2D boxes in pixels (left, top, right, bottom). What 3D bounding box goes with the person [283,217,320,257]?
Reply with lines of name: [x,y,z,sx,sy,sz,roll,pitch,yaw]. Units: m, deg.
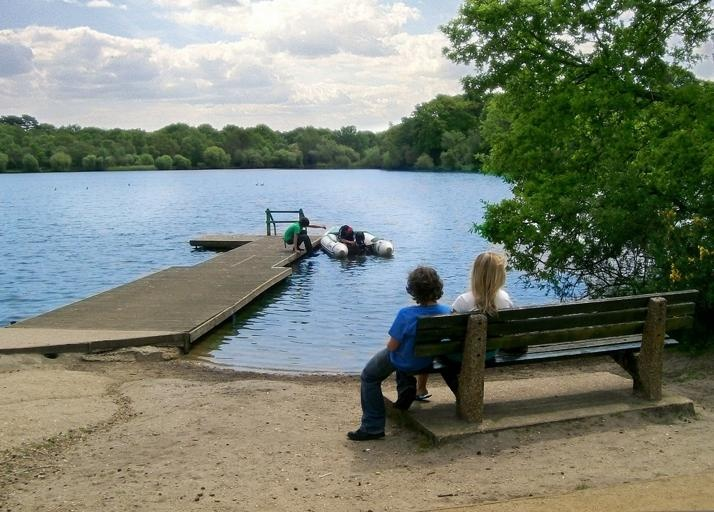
person: [-1.693,-0.742,24.365,1.519,1.032,0.835,-3,16,-2]

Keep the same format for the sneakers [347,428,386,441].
sneakers: [0.112,2.144,8.966,0.473,0.165,0.155,5,-16,5]

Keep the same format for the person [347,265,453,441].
person: [0.522,1.150,8.865,1.361,2.051,0.555,-3,14,-7]

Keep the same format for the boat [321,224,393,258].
boat: [-0.024,-0.590,26.452,2.192,0.975,2.520,-3,12,-11]
